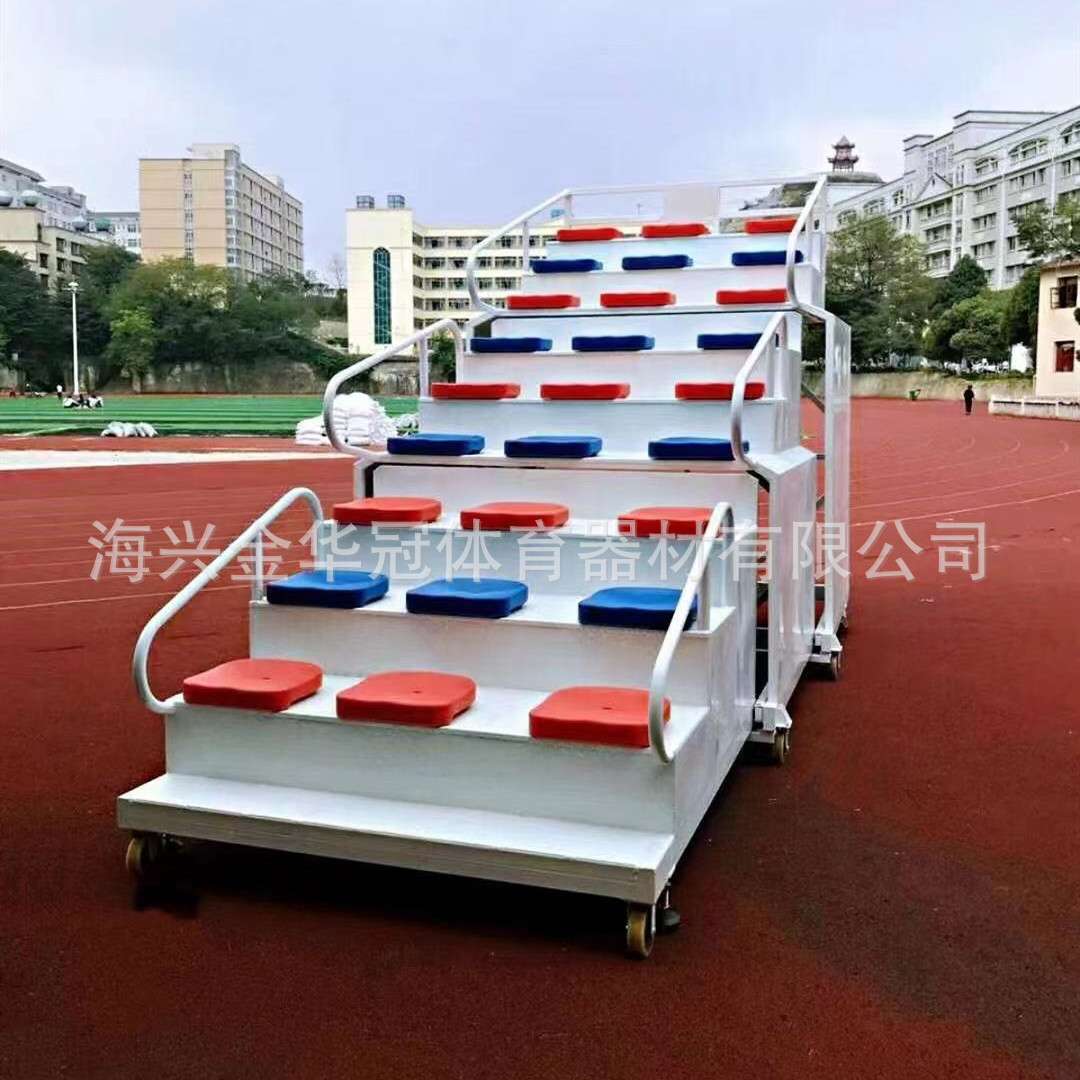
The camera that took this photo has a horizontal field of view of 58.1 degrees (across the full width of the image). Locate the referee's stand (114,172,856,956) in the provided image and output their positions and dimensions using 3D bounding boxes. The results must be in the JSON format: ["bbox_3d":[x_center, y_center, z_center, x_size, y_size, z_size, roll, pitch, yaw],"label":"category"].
[{"bbox_3d":[0.155,-0.313,4.985,2.040,3.017,4.287,3,8,18],"label":"referee's stand"}]
